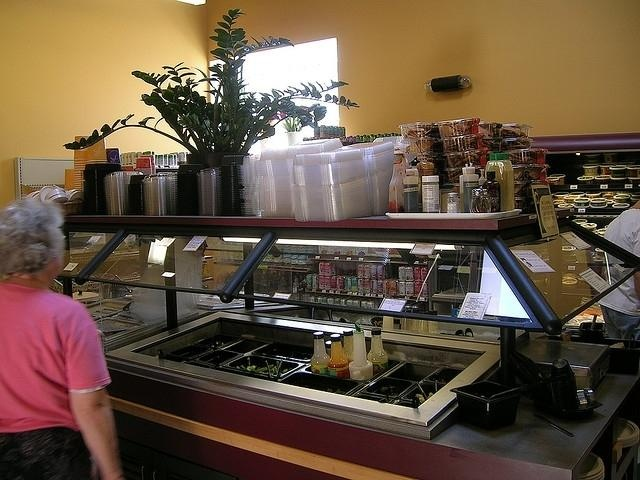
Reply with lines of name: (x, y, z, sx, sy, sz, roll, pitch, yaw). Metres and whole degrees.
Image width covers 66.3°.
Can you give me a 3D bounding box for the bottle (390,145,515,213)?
bottle: (0.599, -0.231, 2.055, 0.398, 0.224, 0.339, 7, 15, 39)
